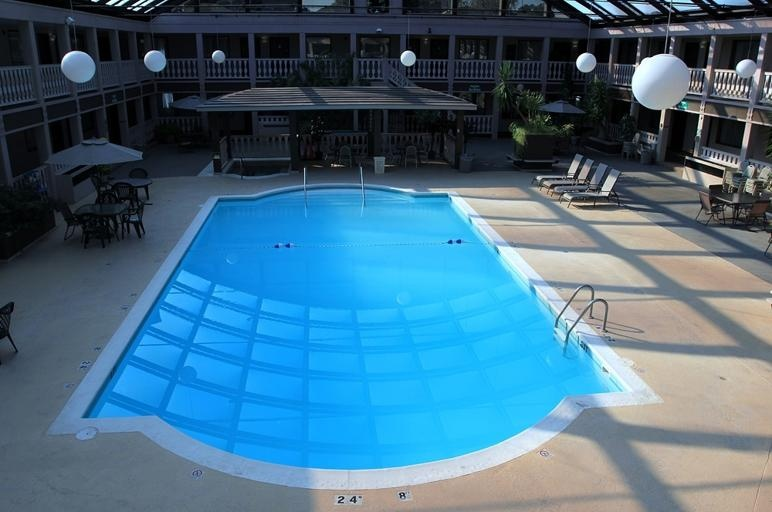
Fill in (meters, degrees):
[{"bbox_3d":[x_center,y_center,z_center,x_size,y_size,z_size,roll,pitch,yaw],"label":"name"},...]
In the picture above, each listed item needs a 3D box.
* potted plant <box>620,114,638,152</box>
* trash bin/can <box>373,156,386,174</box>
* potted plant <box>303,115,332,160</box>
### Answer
[{"bbox_3d":[16.083,-7.813,27.866,1.154,2.313,1.726,7,22,15],"label":"potted plant"},{"bbox_3d":[-0.334,-4.920,23.595,0.588,0.872,0.615,-1,21,-4],"label":"trash bin/can"},{"bbox_3d":[-4.264,-7.146,26.201,1.642,2.547,1.395,-14,26,-32],"label":"potted plant"}]
